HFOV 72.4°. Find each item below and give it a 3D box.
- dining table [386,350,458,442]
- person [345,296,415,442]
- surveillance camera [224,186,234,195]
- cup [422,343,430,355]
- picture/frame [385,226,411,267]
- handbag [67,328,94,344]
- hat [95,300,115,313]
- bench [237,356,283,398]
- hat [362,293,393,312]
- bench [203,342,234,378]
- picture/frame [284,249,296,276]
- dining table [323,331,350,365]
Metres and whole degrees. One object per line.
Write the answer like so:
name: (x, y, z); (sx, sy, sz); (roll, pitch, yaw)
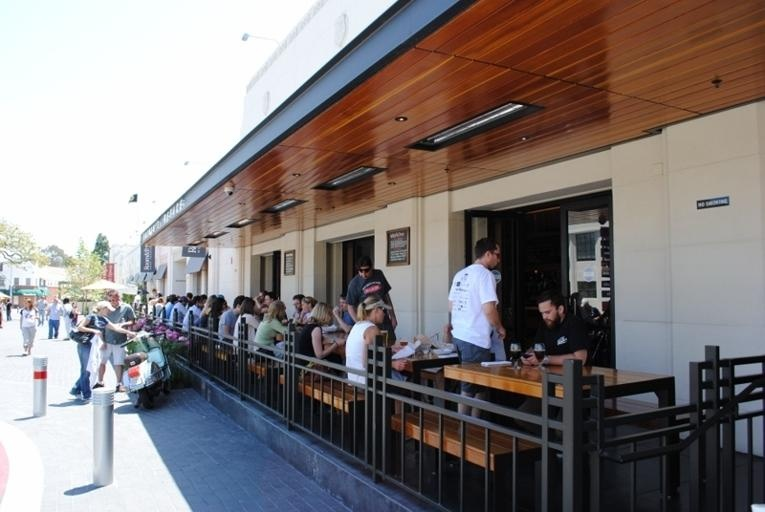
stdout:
dining table: (0.484, 1.422, 5.829); (0.695, 0.636, 0.678); (8, -14, -29)
person: (-0.067, 1.190, 6.070); (0.864, 1.437, 0.597); (-6, 7, -30)
surveillance camera: (-2.617, -1.124, 8.943); (0.123, 0.086, 0.119); (-1, -8, -1)
cup: (0.505, 1.063, 5.965); (0.093, 0.095, 0.090); (1, -4, 0)
picture/frame: (0.336, -0.193, 10.362); (0.059, 0.805, 0.824); (3, -5, -27)
handbag: (-5.169, 1.391, 9.048); (0.257, 0.312, 0.352); (5, 0, 21)
hat: (-4.882, 0.890, 9.212); (0.263, 0.129, 0.175); (-1, 2, -41)
bench: (-1.760, 1.750, 7.526); (0.428, 0.535, 0.790); (6, -10, -30)
hat: (-0.050, 0.530, 5.983); (0.320, 0.155, 0.193); (-2, -1, -6)
bench: (-2.769, 1.779, 8.903); (0.255, 0.438, 0.825); (-3, 4, -34)
picture/frame: (-2.649, 0.172, 15.085); (0.112, 0.804, 0.755); (4, -7, -32)
dining table: (-0.588, 1.258, 7.126); (0.403, 0.266, 0.615); (0, 0, -29)
